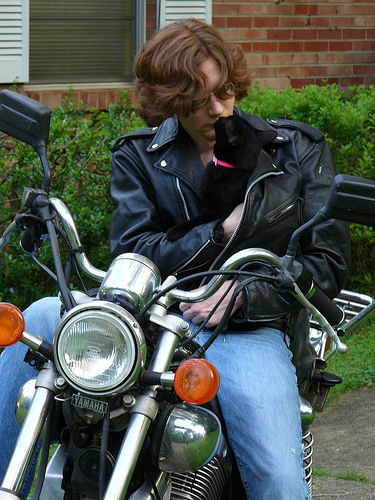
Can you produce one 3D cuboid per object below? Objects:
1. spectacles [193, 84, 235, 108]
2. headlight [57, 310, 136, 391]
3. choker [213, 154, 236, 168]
[{"bbox_3d":[0.087,-0.524,1.756,0.102,0.031,0.102,-27,4,-15],"label":"spectacles"},{"bbox_3d":[-0.168,0.178,0.883,0.145,0.139,0.047,11,18,16],"label":"headlight"},{"bbox_3d":[0.131,-0.322,1.787,0.099,0.038,0.028,19,21,38],"label":"choker"}]
